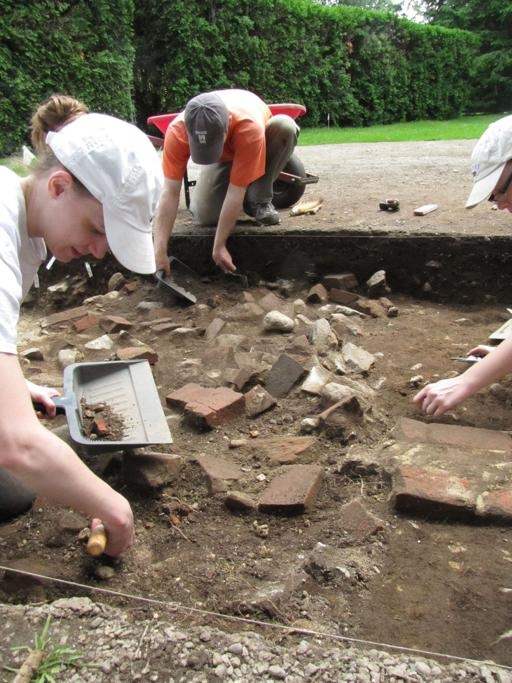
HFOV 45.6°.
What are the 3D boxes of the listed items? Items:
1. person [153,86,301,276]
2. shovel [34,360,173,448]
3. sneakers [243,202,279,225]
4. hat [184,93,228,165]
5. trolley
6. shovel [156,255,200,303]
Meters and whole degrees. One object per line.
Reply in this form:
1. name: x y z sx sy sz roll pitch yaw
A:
1. person: -0.138 -1.192 3.944 0.816 0.697 1.498 6 22 7
2. shovel: -0.554 0.215 2.311 0.391 0.067 0.335 1 32 -20
3. sneakers: 0.034 -0.879 4.203 0.135 0.124 0.334 -25 35 -26
4. hat: -0.264 -1.110 3.195 0.257 0.353 0.221 3 20 5
5. trolley: -0.158 -1.399 4.579 1.522 0.594 0.669 2 27 4
6. shovel: -0.436 -0.360 3.517 0.263 0.045 0.178 37 20 -20
